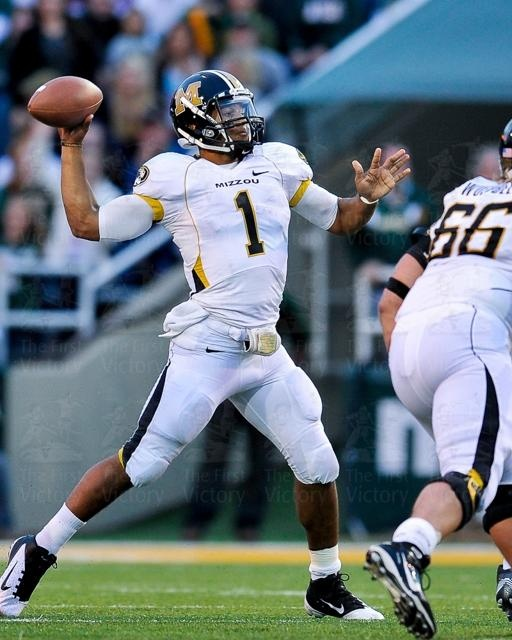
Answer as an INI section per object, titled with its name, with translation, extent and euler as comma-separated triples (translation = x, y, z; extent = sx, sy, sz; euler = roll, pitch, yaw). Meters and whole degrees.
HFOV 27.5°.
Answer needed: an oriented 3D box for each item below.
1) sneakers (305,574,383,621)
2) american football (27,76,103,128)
[sneakers]
translation = 0.314, 0.910, 3.446
extent = 0.332, 0.152, 0.101
euler = 1, -1, 15
[american football]
translation = -0.637, -0.726, 3.471
extent = 0.264, 0.151, 0.187
euler = -20, 40, -34
